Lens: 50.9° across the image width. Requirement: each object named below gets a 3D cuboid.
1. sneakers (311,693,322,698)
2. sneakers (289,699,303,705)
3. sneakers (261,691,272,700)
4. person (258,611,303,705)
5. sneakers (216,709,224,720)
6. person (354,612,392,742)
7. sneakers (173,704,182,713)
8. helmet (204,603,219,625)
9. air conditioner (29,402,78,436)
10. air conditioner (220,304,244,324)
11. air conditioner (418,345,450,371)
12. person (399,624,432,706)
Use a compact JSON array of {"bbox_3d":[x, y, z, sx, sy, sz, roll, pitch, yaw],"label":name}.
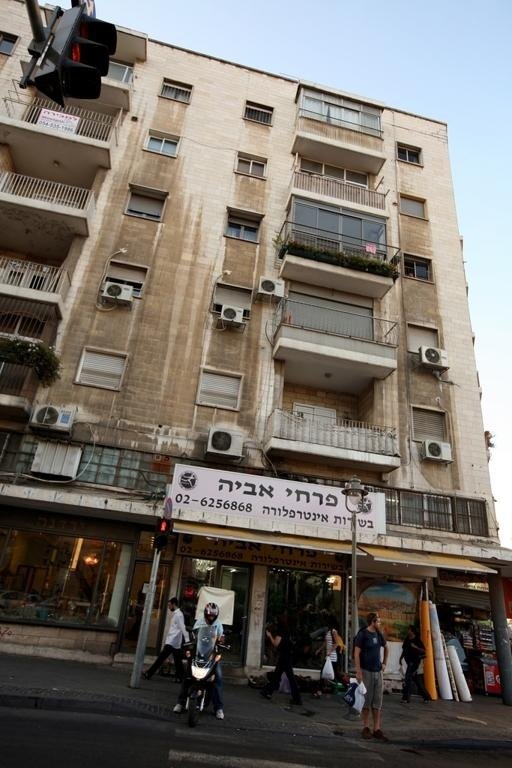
[{"bbox_3d":[1.137,5.906,10.234,0.149,0.098,0.615,2,-28,9],"label":"sneakers"},{"bbox_3d":[0.640,5.262,8.931,0.216,0.112,0.454,4,-28,6],"label":"sneakers"},{"bbox_3d":[0.173,5.341,9.238,0.219,0.134,0.128,15,-21,-10],"label":"sneakers"},{"bbox_3d":[0.462,4.695,9.218,0.648,1.330,1.233,5,-28,3],"label":"person"},{"bbox_3d":[-0.463,4.156,6.779,0.092,0.097,0.219,2,-28,-3],"label":"sneakers"},{"bbox_3d":[1.557,3.948,7.367,0.390,1.472,1.588,-1,-29,13],"label":"person"},{"bbox_3d":[-0.951,3.929,6.511,0.060,0.070,0.169,7,-33,6],"label":"sneakers"},{"bbox_3d":[-0.572,2.861,6.821,0.192,0.270,0.259,6,-48,-13],"label":"helmet"},{"bbox_3d":[-4.797,0.797,12.740,1.074,0.836,0.598,4,-35,-6],"label":"air conditioner"},{"bbox_3d":[-0.703,-1.892,15.168,0.744,0.574,0.433,8,-38,-13],"label":"air conditioner"},{"bbox_3d":[5.456,-0.813,16.695,0.638,0.493,0.238,17,-34,-17],"label":"air conditioner"},{"bbox_3d":[3.358,5.885,11.405,0.568,1.521,1.847,-2,-29,16],"label":"person"}]
